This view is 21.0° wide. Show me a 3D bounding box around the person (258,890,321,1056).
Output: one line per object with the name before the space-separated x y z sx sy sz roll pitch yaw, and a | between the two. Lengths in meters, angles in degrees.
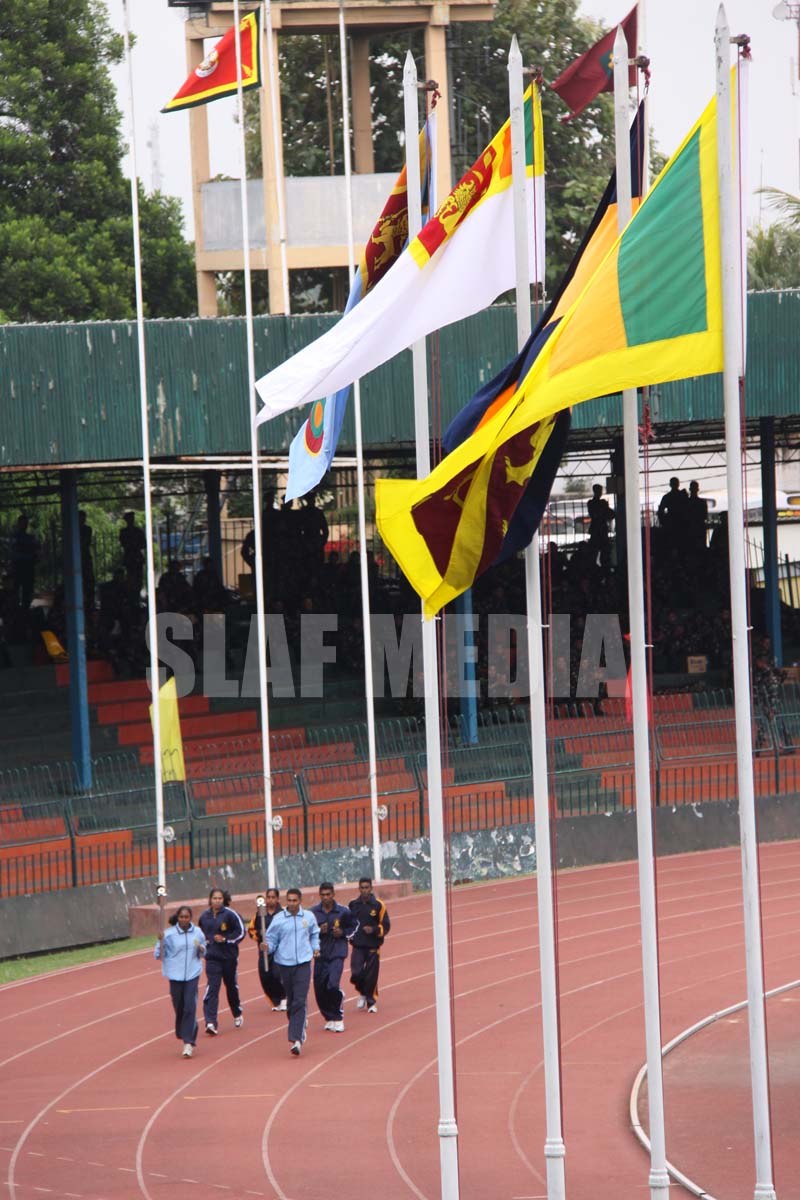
person | -0.938 3.228 18.733 0.498 1.428 0.916 -3 0 -3

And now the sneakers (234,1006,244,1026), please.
sneakers | -1.472 3.820 19.539 0.047 0.131 0.164 2 6 2

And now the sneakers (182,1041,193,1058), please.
sneakers | -1.835 3.871 18.442 0.046 0.085 0.162 1 6 -1

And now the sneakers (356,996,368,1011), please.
sneakers | -0.358 3.767 19.985 0.067 0.108 0.232 1 -16 -6

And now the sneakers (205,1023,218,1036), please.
sneakers | -1.704 3.874 19.288 0.050 0.081 0.147 1 -2 6

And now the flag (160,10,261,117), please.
flag | -2.005 -5.941 23.612 0.914 1.118 2.423 -3 0 -4

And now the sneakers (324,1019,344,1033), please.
sneakers | -0.584 3.803 19.217 0.170 0.113 0.255 -4 0 5

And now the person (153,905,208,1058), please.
person | -1.901 3.319 18.709 0.409 1.276 0.791 -3 0 -5
